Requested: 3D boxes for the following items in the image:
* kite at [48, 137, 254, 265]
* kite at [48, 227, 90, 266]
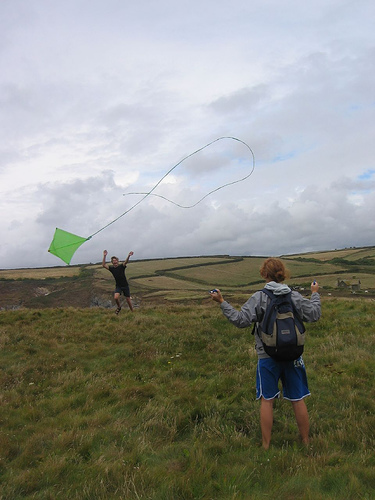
[{"bbox_3d":[-1.038,-1.197,9.708,5.932,1.399,0.173,-23,43,16],"label":"kite"},{"bbox_3d":[-3.037,-0.101,9.321,1.113,0.912,0.356,19,-23,6],"label":"kite"}]
